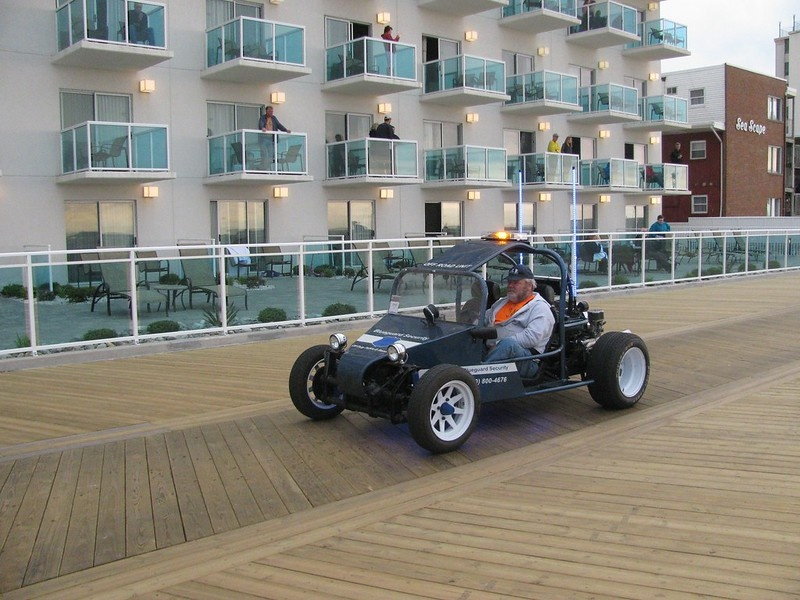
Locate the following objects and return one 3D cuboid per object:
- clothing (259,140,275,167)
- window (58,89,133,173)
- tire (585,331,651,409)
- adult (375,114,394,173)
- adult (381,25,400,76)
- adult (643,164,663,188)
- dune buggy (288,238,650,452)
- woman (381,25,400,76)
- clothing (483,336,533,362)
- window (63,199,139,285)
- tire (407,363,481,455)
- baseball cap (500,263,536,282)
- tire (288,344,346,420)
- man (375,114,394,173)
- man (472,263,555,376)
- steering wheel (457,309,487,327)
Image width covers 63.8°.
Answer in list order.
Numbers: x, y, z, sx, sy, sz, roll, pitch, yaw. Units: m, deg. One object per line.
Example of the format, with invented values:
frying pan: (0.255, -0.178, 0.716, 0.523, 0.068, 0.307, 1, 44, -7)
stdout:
clothing: (-4.625, -5.165, 22.278, 0.501, 1.107, 0.180, -3, 10, -17)
window: (-10.225, -5.798, 21.565, 2.602, 2.423, 0.094, 8, 15, 12)
tire: (2.473, 0.791, 7.302, 0.920, 0.871, 0.349, -5, 9, -43)
adult: (-0.542, -6.109, 24.970, 0.754, 2.201, 1.077, -1, 9, -1)
adult: (-0.350, -9.992, 25.677, 0.682, 1.956, 0.618, -4, 26, -3)
adult: (13.909, -6.891, 35.308, 1.645, 0.896, 0.718, 9, 11, -29)
dune buggy: (0.883, 0.409, 7.044, 3.249, 1.707, 2.202, -3, 4, -36)
woman: (-0.360, -9.953, 25.628, 0.716, 1.946, 0.620, -1, 24, 3)
clothing: (1.091, 0.487, 6.525, 0.334, 0.120, 0.245, -5, 13, -15)
window: (-10.069, -2.610, 21.675, 2.220, 1.606, 0.497, -4, 10, -21)
tire: (0.385, 0.995, 5.889, 0.834, 0.789, 0.245, -7, 9, -43)
baseball cap: (1.292, -0.306, 6.930, 0.266, 0.131, 0.181, 4, 1, -23)
tire: (-0.850, 0.874, 6.697, 0.806, 0.763, 0.283, 4, 5, -35)
man: (-0.541, -6.110, 24.977, 0.743, 2.201, 1.097, 0, 9, 0)
man: (1.138, 0.276, 6.892, 0.928, 1.308, 0.858, 8, 2, 24)
steering wheel: (0.748, 0.179, 6.718, 0.238, 0.270, 0.153, 5, -5, -18)
